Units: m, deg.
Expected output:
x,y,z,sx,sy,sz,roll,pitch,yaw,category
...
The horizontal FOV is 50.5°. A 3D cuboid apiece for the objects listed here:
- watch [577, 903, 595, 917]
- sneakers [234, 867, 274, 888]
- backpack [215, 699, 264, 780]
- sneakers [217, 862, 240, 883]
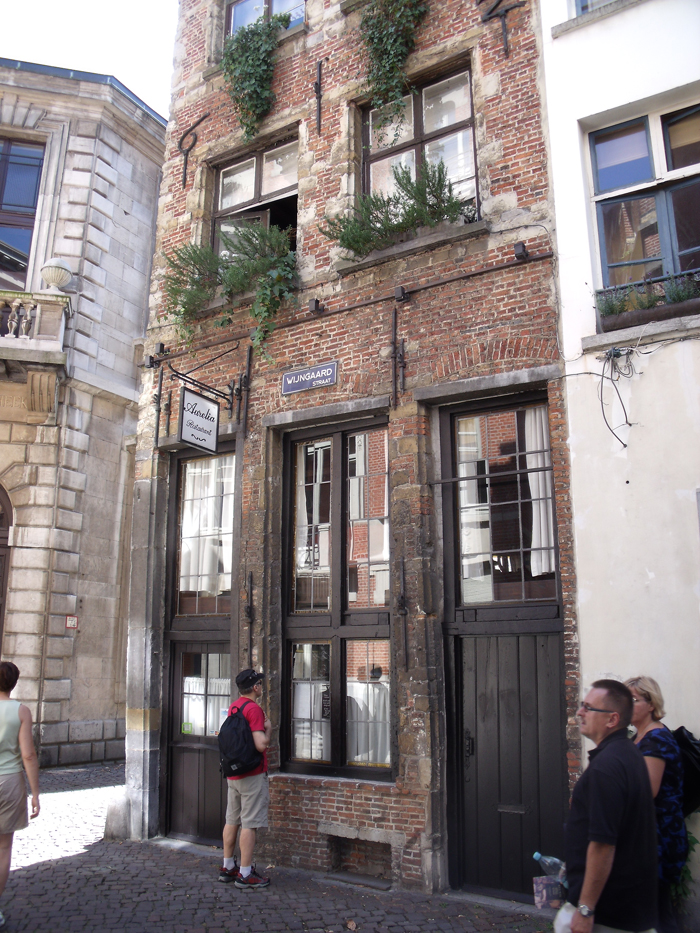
x,y,z,sx,sy,sz,roll,pitch,yaw,category
0.822,1.559,2.600,0.049,0.044,0.034,-6,-12,23,watch
-0.753,3.227,5.832,0.288,0.157,0.115,4,-13,-13,sneakers
-0.837,2.113,5.770,0.310,0.536,0.232,-1,-11,1,backpack
-0.970,3.283,5.982,0.090,0.118,0.250,-10,-19,28,sneakers
